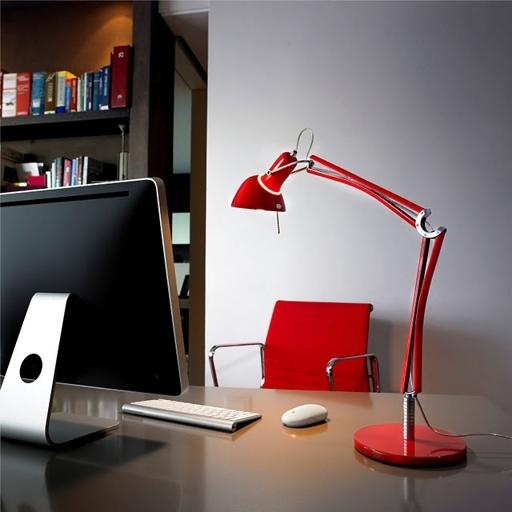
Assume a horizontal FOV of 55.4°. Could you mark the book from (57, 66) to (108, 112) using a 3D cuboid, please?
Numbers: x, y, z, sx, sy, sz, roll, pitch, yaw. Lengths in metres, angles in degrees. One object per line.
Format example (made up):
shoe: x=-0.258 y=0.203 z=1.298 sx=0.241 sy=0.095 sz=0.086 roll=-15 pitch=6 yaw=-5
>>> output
book: x=-1.076 y=-1.020 z=3.052 sx=0.398 sy=0.231 sz=0.068 roll=0 pitch=0 yaw=18

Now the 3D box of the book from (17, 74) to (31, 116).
book: x=-1.474 y=-1.015 z=3.096 sx=0.101 sy=0.250 sz=0.078 roll=0 pitch=0 yaw=-15

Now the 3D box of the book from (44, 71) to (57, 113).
book: x=-1.293 y=-1.018 z=3.086 sx=0.111 sy=0.226 sz=0.045 roll=0 pitch=0 yaw=17

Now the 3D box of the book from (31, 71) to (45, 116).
book: x=-1.379 y=-1.018 z=3.091 sx=0.135 sy=0.236 sz=0.056 roll=0 pitch=0 yaw=23

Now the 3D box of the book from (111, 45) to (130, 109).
book: x=-0.833 y=-1.088 z=2.994 sx=0.121 sy=0.293 sz=0.039 roll=0 pitch=0 yaw=12
